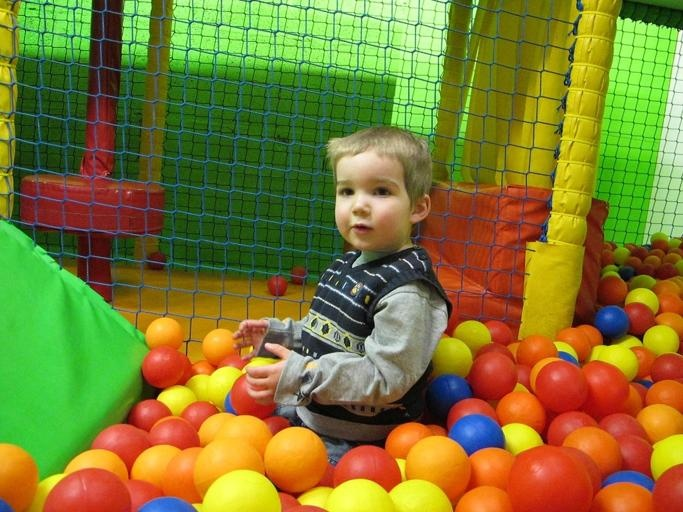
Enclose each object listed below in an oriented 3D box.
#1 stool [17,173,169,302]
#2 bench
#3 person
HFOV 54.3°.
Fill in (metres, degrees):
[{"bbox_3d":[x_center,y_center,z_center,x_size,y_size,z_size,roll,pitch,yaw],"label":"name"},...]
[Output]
[{"bbox_3d":[-1.262,-0.219,3.268,0.725,0.691,0.628,3,5,8],"label":"stool"},{"bbox_3d":[0.780,-0.041,3.225,0.806,0.768,0.800,10,-6,-34],"label":"bench"},{"bbox_3d":[0.014,0.137,2.778,0.899,1.594,1.065,-1,5,-17],"label":"person"}]
